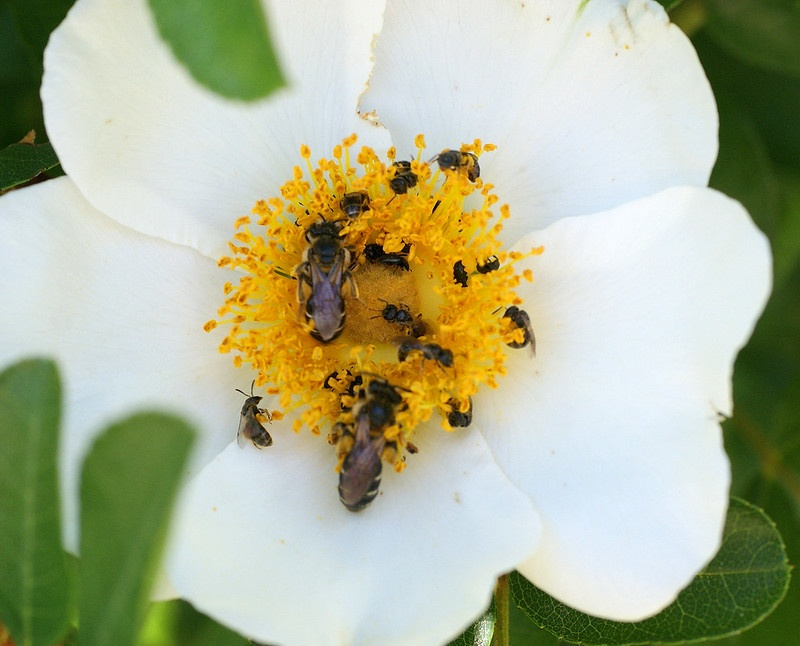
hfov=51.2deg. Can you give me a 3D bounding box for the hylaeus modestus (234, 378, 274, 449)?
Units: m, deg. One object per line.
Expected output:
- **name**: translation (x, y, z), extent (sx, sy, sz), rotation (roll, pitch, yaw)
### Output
- **hylaeus modestus**: translation (-0.314, 0.203, 1.777), extent (0.032, 0.071, 0.111), rotation (2, 88, -39)
